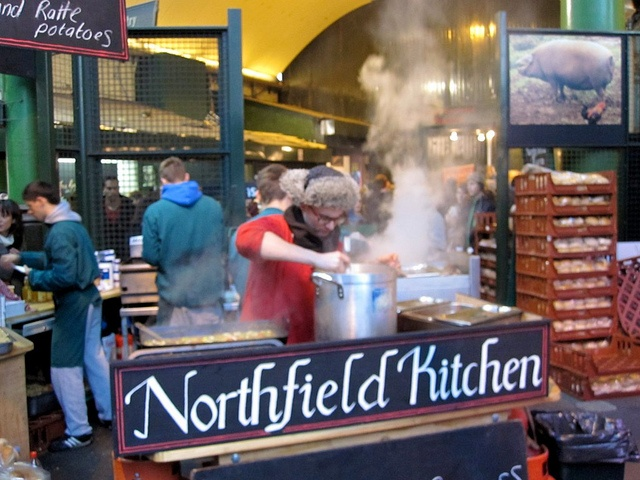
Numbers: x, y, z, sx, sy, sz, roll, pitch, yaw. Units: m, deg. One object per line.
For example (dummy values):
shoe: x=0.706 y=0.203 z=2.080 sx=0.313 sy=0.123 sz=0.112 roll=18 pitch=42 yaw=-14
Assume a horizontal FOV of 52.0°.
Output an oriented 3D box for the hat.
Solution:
hat: x=-0.001 y=-0.300 z=3.695 sx=0.265 sy=0.179 sz=0.296 roll=9 pitch=18 yaw=-48

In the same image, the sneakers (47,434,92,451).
sneakers: x=-1.961 y=1.577 z=5.198 sx=0.344 sy=0.189 sz=0.125 roll=4 pitch=-4 yaw=-18

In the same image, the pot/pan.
pot/pan: x=0.180 y=0.312 z=3.525 sx=0.390 sy=0.363 sz=0.328 roll=-1 pitch=1 yaw=-11

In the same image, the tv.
tv: x=2.396 y=-1.467 z=6.320 sx=0.941 sy=0.983 sz=0.037 roll=-1 pitch=1 yaw=-10

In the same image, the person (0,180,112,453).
person: x=-1.990 y=0.575 z=5.185 sx=0.531 sy=2.088 sz=0.367 roll=-6 pitch=8 yaw=-28

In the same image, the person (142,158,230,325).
person: x=-1.082 y=0.102 z=5.231 sx=0.651 sy=1.105 sz=0.312 roll=-5 pitch=7 yaw=-17
